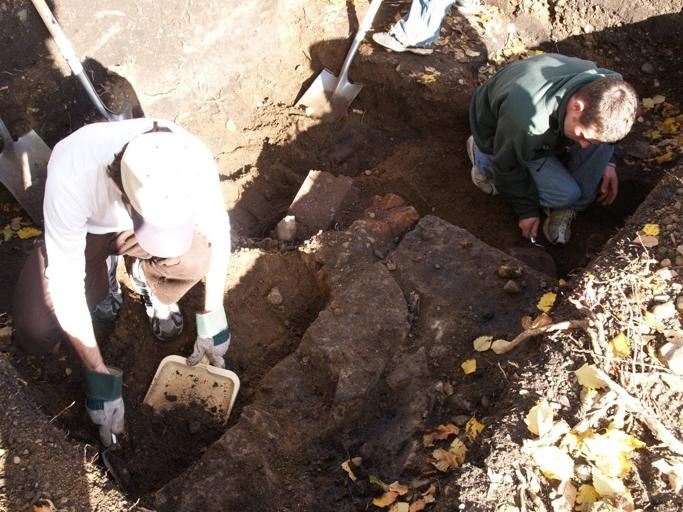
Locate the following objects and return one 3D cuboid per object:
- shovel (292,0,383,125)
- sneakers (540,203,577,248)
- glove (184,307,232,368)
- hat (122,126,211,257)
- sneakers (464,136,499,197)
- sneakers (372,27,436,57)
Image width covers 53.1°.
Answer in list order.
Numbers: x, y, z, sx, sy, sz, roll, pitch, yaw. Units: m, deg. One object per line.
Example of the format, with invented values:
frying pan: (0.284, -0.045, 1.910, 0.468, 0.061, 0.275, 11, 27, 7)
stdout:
shovel: (-0.035, -1.639, 5.973, 0.851, 0.801, 0.261, -28, 43, -18)
sneakers: (1.747, -0.243, 5.482, 0.142, 0.434, 0.178, 5, 0, -29)
glove: (-0.885, 0.558, 4.693, 0.313, 0.407, 0.140, -11, 39, -21)
hat: (-1.025, -0.400, 4.146, 0.453, 0.353, 0.744, 12, 55, 9)
sneakers: (1.171, -0.724, 5.791, 0.189, 0.532, 0.209, -20, 5, 17)
sneakers: (0.506, -1.801, 5.972, 0.567, 0.225, 0.212, 12, 14, -8)
